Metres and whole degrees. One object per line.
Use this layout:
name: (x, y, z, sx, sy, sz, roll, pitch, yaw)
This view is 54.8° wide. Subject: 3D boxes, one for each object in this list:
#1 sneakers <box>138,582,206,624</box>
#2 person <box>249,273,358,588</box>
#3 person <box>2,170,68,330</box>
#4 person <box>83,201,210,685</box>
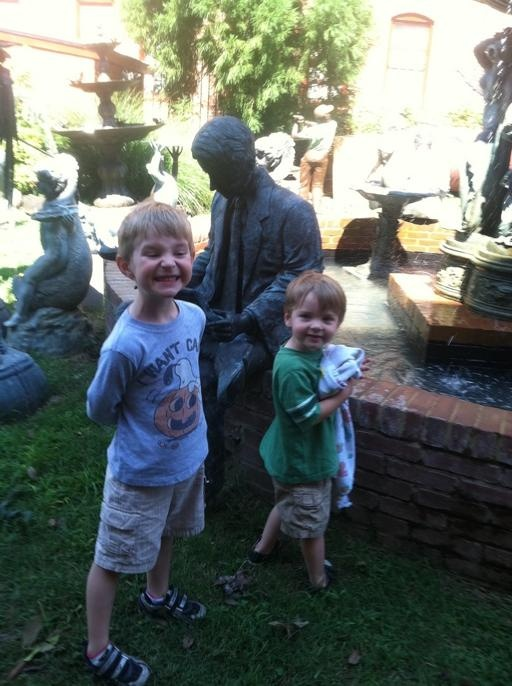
sneakers: (-0.272, 0.901, 1.713, 0.253, 0.102, 0.090, 3, 17, -7)
person: (0.181, 0.352, 1.677, 0.323, 1.157, 0.298, 8, 21, 1)
person: (-1.891, -0.788, 4.260, 0.517, 1.359, 0.319, 0, 22, -19)
person: (-0.277, 0.331, 1.420, 0.370, 1.400, 0.517, 7, 21, -3)
